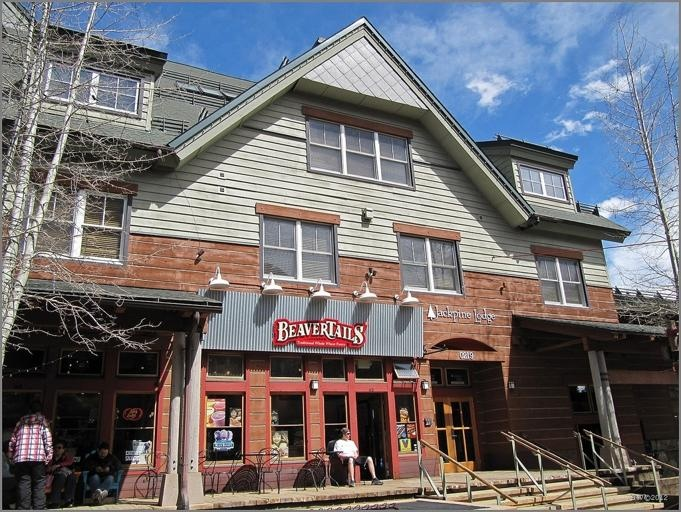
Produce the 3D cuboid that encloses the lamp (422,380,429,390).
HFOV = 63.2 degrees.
[{"bbox_3d":[2.701,4.073,17.553,0.269,0.265,0.109,9,-24,-27],"label":"lamp"}]

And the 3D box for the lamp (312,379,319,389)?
[{"bbox_3d":[-0.732,3.685,15.901,0.172,0.224,0.284,-12,-18,31],"label":"lamp"}]
